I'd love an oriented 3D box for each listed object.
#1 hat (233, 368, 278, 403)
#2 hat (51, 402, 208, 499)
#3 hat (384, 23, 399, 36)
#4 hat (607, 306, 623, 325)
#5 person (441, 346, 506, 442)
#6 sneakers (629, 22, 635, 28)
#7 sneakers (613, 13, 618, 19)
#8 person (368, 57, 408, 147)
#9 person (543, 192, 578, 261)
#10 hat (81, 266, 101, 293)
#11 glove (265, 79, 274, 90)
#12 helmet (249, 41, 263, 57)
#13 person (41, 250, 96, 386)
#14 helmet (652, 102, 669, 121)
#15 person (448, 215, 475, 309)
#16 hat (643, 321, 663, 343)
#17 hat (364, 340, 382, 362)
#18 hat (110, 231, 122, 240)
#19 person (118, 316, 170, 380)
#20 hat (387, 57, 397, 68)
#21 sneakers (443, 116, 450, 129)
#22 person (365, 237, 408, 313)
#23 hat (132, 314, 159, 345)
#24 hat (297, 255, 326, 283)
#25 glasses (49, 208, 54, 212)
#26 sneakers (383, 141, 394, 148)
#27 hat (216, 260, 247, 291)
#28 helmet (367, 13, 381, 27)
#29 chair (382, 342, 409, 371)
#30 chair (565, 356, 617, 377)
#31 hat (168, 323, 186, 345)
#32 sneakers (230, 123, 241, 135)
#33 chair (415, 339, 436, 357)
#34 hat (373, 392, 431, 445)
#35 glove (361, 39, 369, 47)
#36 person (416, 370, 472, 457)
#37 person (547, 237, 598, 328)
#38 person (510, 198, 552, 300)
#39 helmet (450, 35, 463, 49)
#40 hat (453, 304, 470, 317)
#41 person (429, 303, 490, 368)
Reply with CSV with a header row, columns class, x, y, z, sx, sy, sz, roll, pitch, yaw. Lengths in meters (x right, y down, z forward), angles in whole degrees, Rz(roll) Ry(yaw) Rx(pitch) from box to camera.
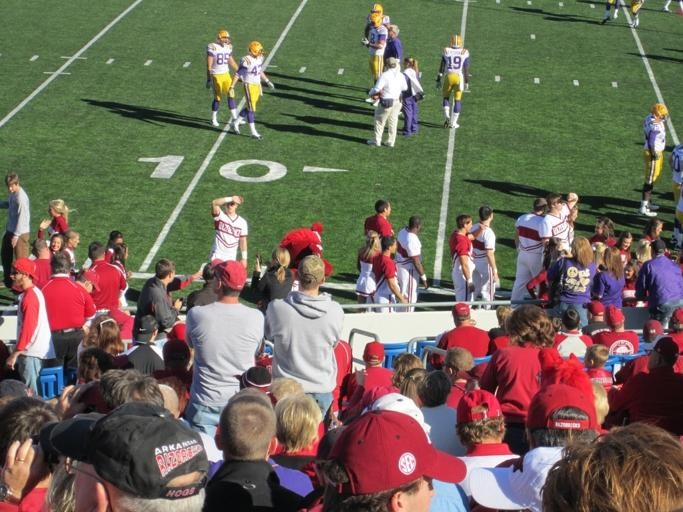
class,x,y,z,sx,sy,sz,roll,pitch,yaw
hat,-0.862,1.249,12.115,0.278,0.336,0.357,9,-33,-19
hat,-1.762,1.631,10.139,1.065,0.423,0.706,21,13,19
hat,0.949,-4.277,23.341,0.216,0.227,0.404,4,5,-5
hat,3.202,0.689,14.384,0.155,0.145,0.229,-11,37,16
person,1.280,1.298,12.643,0.380,0.375,0.766,1,40,-1
sneakers,6.958,-5.523,29.351,0.044,0.138,0.148,9,-15,31
sneakers,6.726,-5.892,30.169,0.110,0.064,0.197,11,54,1
person,0.786,-2.630,21.151,0.612,1.511,0.784,4,5,1
person,2.936,-0.379,16.567,0.306,1.047,0.543,8,30,24
hat,-3.140,0.302,15.284,0.165,0.342,0.209,-28,26,-25
glove,-1.304,-3.059,21.988,0.128,0.117,0.440,9,14,-14
helmet,-1.491,-3.540,21.007,0.196,0.225,0.349,3,5,-10
person,-3.360,0.856,14.798,0.651,1.813,0.577,-1,26,-14
helmet,4.964,-2.236,19.145,0.213,0.209,0.312,5,5,7
person,1.650,0.029,16.831,0.375,1.210,0.773,4,5,6
hat,3.551,0.868,13.996,0.244,0.184,0.363,-3,12,18
hat,0.344,1.031,13.275,0.154,0.126,0.221,3,17,1
hat,-3.062,-0.275,16.535,0.108,0.133,0.131,6,49,-24
person,-2.132,1.004,13.257,0.531,1.057,0.377,4,-1,4
hat,0.840,-3.290,20.904,0.207,0.151,0.335,2,18,2
sneakers,1.912,-2.443,22.490,0.151,0.091,0.248,44,-7,28
person,0.624,0.263,16.367,0.493,1.012,1.419,4,5,2
hat,-2.150,0.796,13.524,0.368,0.269,0.588,1,12,-1
hat,-0.326,0.145,12.746,0.235,0.291,0.290,2,34,-1
glasses,-4.008,-0.642,16.867,0.050,0.041,0.055,0,-11,-24
sneakers,0.837,-1.952,21.561,0.081,0.080,0.173,-1,8,-21
hat,-1.159,0.187,12.564,0.230,0.172,0.333,-8,47,-26
helmet,0.597,-4.540,23.510,0.300,0.254,0.203,7,5,31
chair,0.634,1.170,14.651,0.253,0.297,0.266,-9,18,8
chair,2.593,1.152,12.826,0.278,0.131,0.364,-2,19,-2
hat,-1.883,0.873,14.008,0.189,0.159,0.301,4,13,-35
sneakers,-1.905,-2.271,21.809,0.097,0.223,0.140,-32,44,-19
chair,0.965,1.112,14.707,0.197,0.184,0.177,-5,0,41
hat,0.553,1.486,11.458,0.579,0.223,0.374,23,28,30
glove,0.435,-4.160,23.979,0.169,0.081,0.228,10,14,-10
person,0.960,1.520,12.094,0.461,0.742,0.740,-4,21,2
person,2.964,0.430,16.051,0.611,1.864,0.486,-1,46,2
person,2.646,-0.009,17.070,0.565,1.639,0.486,2,24,6
helmet,2.062,-3.849,22.076,0.175,0.247,0.560,5,5,8
hat,1.361,0.609,14.012,0.180,0.134,0.248,1,7,5
person,1.401,1.100,14.168,0.679,1.028,0.570,-4,5,-5
